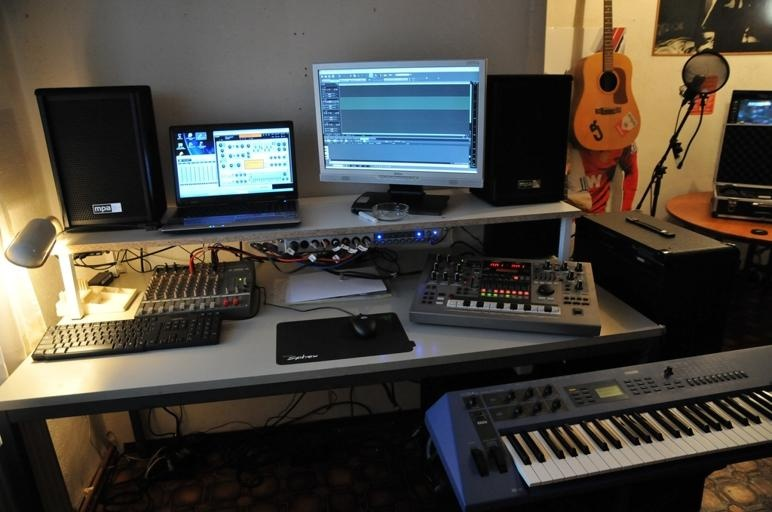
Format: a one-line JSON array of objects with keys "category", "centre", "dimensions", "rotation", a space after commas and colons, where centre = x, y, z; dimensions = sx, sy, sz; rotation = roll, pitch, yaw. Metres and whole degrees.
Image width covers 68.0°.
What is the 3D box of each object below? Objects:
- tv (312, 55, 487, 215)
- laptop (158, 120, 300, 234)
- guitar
[{"category": "tv", "centre": [0.069, -0.567, 2.596], "dimensions": [0.785, 0.624, 0.272], "rotation": [2, 26, 8]}, {"category": "laptop", "centre": [-0.687, -0.404, 2.617], "dimensions": [0.761, 0.481, 0.498], "rotation": [-4, 23, -8]}, {"category": "guitar", "centre": [1.280, -1.047, 3.364], "dimensions": [0.407, 0.866, 0.350], "rotation": [-1, 21, 4]}]
